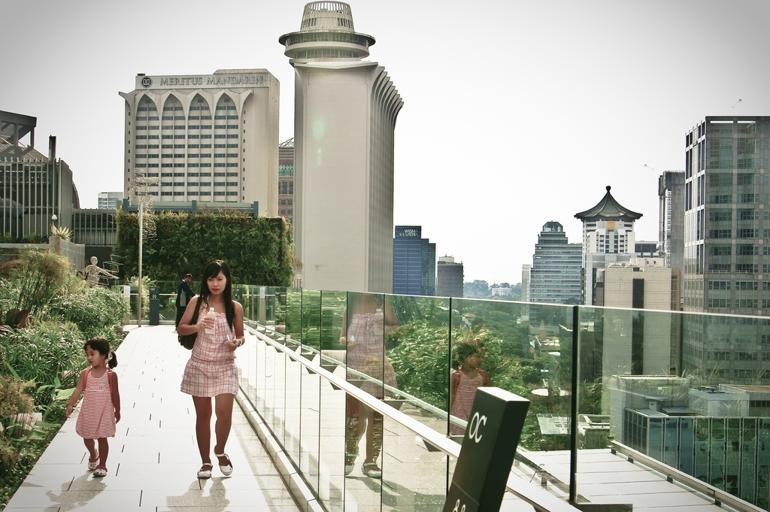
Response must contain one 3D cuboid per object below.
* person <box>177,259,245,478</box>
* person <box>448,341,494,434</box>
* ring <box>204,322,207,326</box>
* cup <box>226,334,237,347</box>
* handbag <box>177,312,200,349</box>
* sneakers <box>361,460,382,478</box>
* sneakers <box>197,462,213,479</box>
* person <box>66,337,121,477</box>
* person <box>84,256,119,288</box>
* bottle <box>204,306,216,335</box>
[{"bbox_3d":[-2.054,1.360,8.623,0.720,2.612,0.687,2,-2,-13],"label":"person"},{"bbox_3d":[0.763,1.304,6.569,0.351,1.127,0.302,-1,10,-4],"label":"person"},{"bbox_3d":[-2.019,0.770,8.273,0.027,0.028,0.015,0,-11,-9],"label":"ring"},{"bbox_3d":[-1.767,0.958,8.416,0.111,0.133,0.108,1,-1,0],"label":"cup"},{"bbox_3d":[-2.278,0.912,8.600,0.249,0.344,0.354,2,-5,0],"label":"handbag"},{"bbox_3d":[-0.091,1.670,5.780,0.103,0.078,0.180,2,-2,-18],"label":"sneakers"},{"bbox_3d":[-2.177,2.589,8.885,0.098,0.125,0.298,0,-4,0],"label":"sneakers"},{"bbox_3d":[-3.560,1.804,9.000,0.569,1.676,0.866,2,-2,-23],"label":"person"},{"bbox_3d":[-15.367,0.891,40.020,1.522,1.078,1.553,2,11,32],"label":"person"},{"bbox_3d":[-1.987,0.760,8.366,0.123,0.280,0.125,1,-2,0],"label":"bottle"}]
